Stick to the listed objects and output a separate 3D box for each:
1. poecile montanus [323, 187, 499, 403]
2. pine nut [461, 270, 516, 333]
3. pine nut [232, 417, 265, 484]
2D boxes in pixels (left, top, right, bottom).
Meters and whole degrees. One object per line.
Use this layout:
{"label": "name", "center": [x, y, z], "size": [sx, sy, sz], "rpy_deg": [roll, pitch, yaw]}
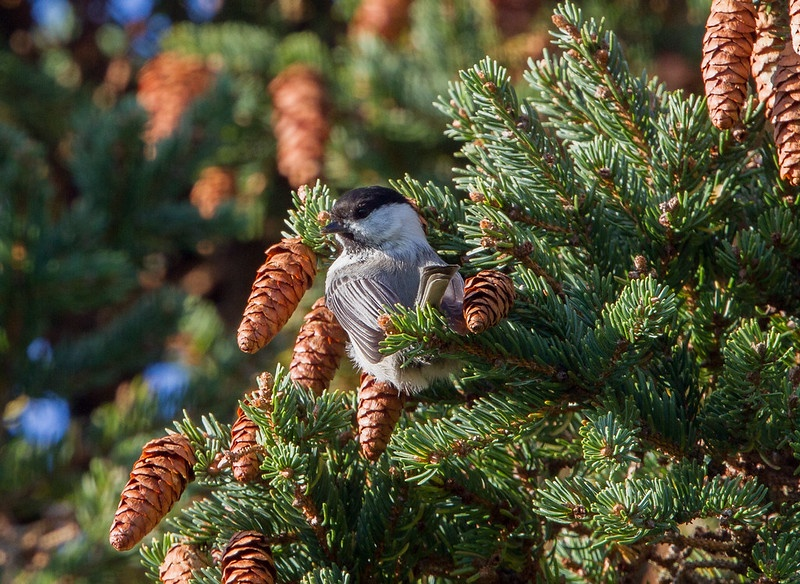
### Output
{"label": "poecile montanus", "center": [0.030, 0.016, 3.774], "size": [0.441, 0.768, 0.715], "rpy_deg": [4, -2, -36]}
{"label": "pine nut", "center": [0.277, 0.016, 3.345], "size": [0.120, 0.125, 0.195], "rpy_deg": [-9, 22, 23]}
{"label": "pine nut", "center": [-0.498, 0.558, 3.432], "size": [0.097, 0.110, 0.291], "rpy_deg": [8, 26, -9]}
